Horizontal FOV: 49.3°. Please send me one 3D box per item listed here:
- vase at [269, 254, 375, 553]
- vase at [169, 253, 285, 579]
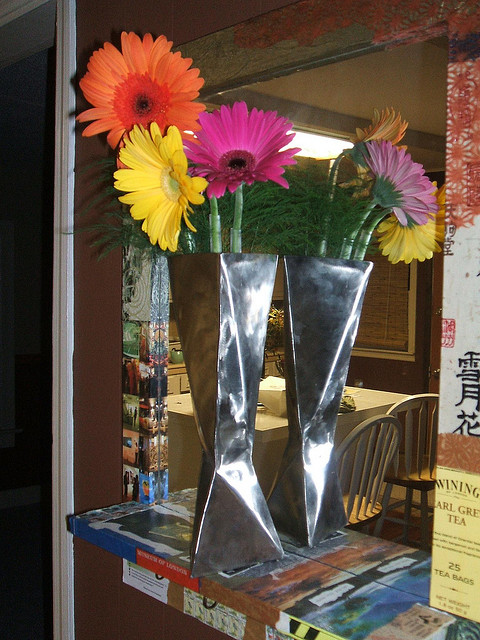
[{"bbox_3d":[0.112,0.112,0.694,0.131,0.370,0.137,-1,-6,-11],"label":"vase"},{"bbox_3d":[-0.015,0.115,0.638,0.135,0.400,0.120,-2,-6,-5],"label":"vase"}]
